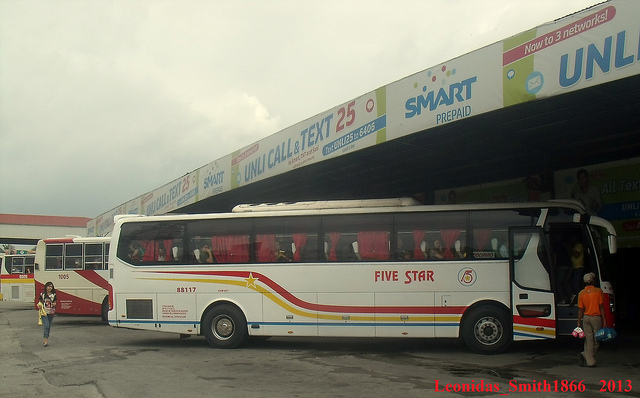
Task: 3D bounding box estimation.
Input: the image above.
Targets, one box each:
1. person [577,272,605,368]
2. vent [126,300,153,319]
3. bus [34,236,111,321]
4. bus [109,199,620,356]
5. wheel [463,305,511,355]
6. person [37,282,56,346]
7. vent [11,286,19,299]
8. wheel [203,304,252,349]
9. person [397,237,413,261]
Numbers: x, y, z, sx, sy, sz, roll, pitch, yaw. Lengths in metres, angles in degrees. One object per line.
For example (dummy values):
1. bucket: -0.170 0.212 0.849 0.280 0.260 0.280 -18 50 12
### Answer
1. person: 7.888 3.385 16.840 0.608 2.577 1.384 -2 -2 34
2. vent: -5.987 3.681 19.623 0.630 0.468 0.052 -1 -5 8
3. bus: -10.274 3.644 27.582 6.885 3.650 2.163 -3 -7 23
4. bus: 1.526 2.529 18.674 14.263 4.134 4.346 -2 -5 19
5. wheel: 5.169 3.952 17.968 1.443 1.503 0.531 0 -6 5
6. person: -9.397 3.889 20.248 0.530 2.106 1.517 1 -2 -25
7. vent: -18.972 5.739 36.589 0.634 0.646 0.152 -21 -22 13
8. wheel: -3.033 4.095 19.203 1.384 1.444 0.553 -3 -1 6
9. person: 2.699 1.557 18.482 0.435 0.725 0.143 0 -2 -3
